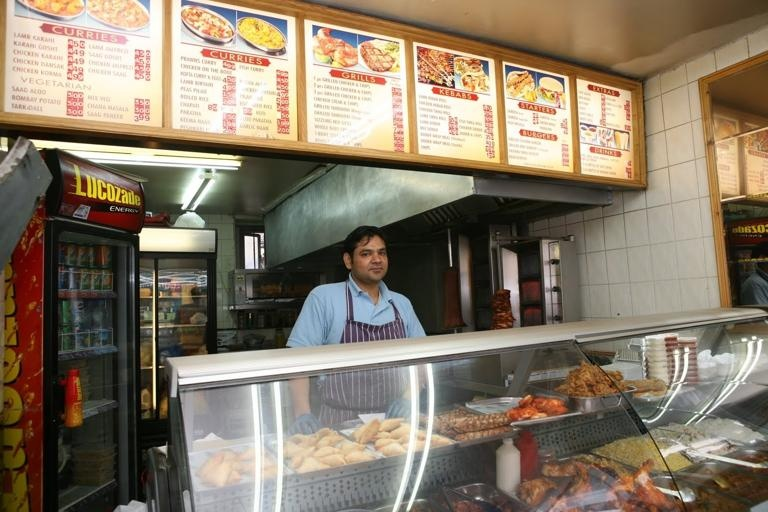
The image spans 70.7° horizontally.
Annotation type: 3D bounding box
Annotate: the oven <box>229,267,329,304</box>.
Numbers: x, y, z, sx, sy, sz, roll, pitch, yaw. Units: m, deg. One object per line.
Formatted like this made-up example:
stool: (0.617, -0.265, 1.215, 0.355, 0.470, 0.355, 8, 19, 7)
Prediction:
oven: (-1.612, 0.422, 7.960, 1.281, 0.476, 0.379, 1, -1, -26)

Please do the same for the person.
person: (-0.153, 0.390, 2.807, 0.554, 1.076, 0.523, 4, 2, -31)

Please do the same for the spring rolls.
spring rolls: (-0.218, 0.735, 2.098, 0.954, 0.176, 0.079, -3, 10, -15)

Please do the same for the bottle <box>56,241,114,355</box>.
bottle: (-2.012, 0.267, 3.670, 0.237, 0.648, 0.298, 3, 0, -22)

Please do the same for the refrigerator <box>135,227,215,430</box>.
refrigerator: (-2.214, 0.830, 5.846, 0.924, 2.092, 0.550, -1, -5, -2)
